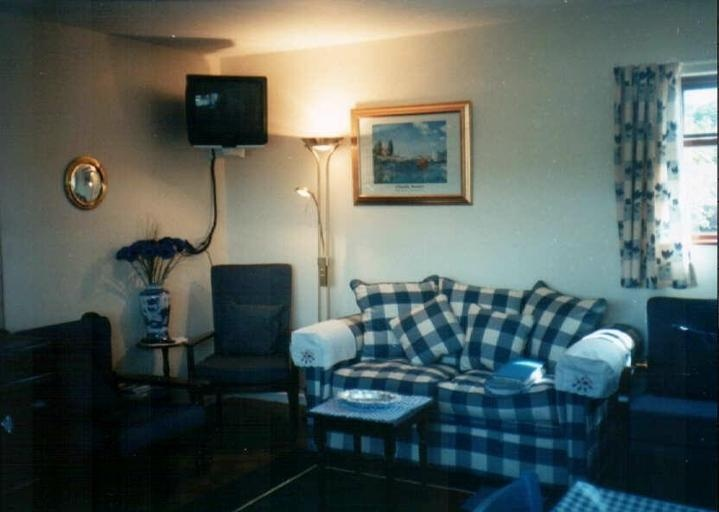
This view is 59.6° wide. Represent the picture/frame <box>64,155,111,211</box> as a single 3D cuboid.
[{"bbox_3d":[-0.628,-0.171,1.464,0.133,0.169,0.019,1,2,7],"label":"picture/frame"}]

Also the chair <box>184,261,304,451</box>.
[{"bbox_3d":[-0.263,0.218,1.488,0.302,0.372,0.289,-1,2,-35],"label":"chair"}]

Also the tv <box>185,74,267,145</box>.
[{"bbox_3d":[-0.310,-0.344,1.470,0.192,0.174,0.059,-4,7,-10],"label":"tv"}]

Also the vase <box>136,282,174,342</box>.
[{"bbox_3d":[-0.480,0.134,1.480,0.074,0.132,0.043,-4,7,-12],"label":"vase"}]

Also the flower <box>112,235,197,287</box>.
[{"bbox_3d":[-0.478,0.014,1.510,0.187,0.122,0.178,12,17,41],"label":"flower"}]

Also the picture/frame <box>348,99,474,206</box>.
[{"bbox_3d":[0.123,-0.254,1.493,0.266,0.211,0.019,0,4,-1],"label":"picture/frame"}]

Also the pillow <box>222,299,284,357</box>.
[{"bbox_3d":[-0.264,0.171,1.546,0.144,0.129,0.035,4,-2,-3],"label":"pillow"}]
